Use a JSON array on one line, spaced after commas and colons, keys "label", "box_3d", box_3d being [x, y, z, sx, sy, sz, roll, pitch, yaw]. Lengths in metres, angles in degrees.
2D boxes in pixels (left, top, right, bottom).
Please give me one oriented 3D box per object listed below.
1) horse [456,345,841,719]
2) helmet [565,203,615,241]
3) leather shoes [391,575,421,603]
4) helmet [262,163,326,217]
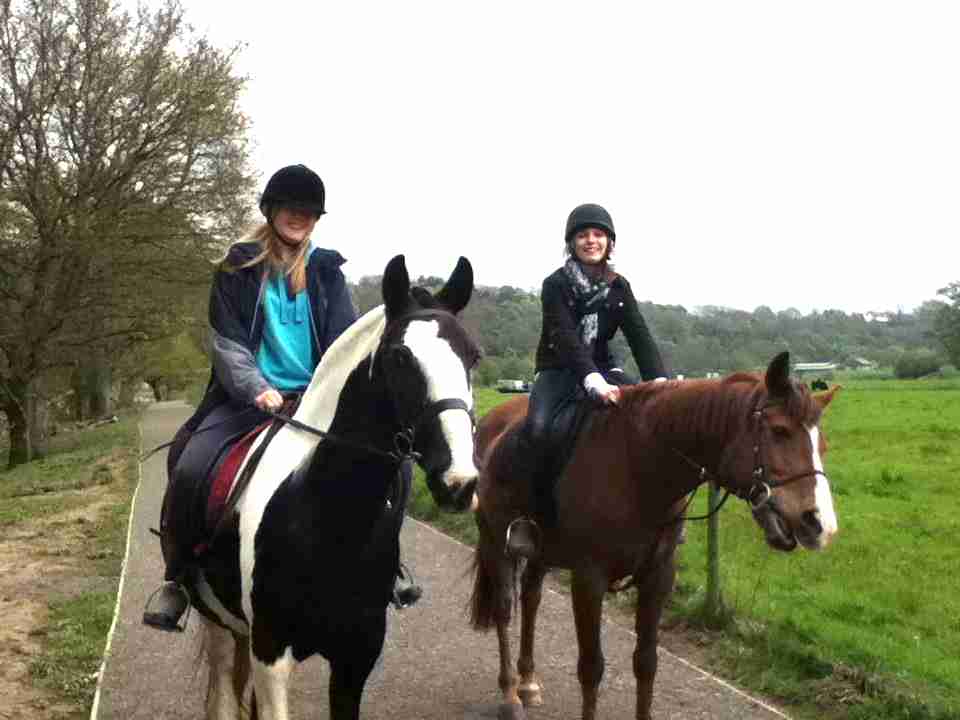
[{"label": "horse", "box_3d": [1.276, 1.578, 6.877, 1.242, 3.047, 3.406, 0, 0, -40]}, {"label": "helmet", "box_3d": [1.015, -1.288, 7.521, 0.447, 0.346, 0.301, 0, 0, 6]}, {"label": "leather shoes", "box_3d": [-0.558, 1.786, 6.236, 0.156, 0.238, 0.089, 1, 2, 38]}, {"label": "helmet", "box_3d": [-1.432, -1.283, 6.116, 0.473, 0.391, 0.363, 0, 0, -11]}]
